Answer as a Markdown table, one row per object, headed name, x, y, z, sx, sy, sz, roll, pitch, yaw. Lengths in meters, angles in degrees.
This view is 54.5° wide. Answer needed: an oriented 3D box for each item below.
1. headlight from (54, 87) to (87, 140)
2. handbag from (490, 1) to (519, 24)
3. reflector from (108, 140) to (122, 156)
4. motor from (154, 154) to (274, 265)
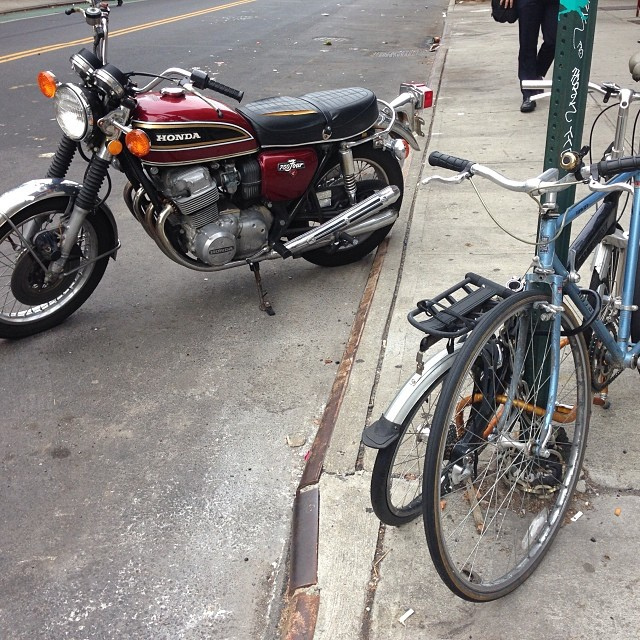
| name | x | y | z | sx | sy | sz | roll | pitch | yaw |
| --- | --- | --- | --- | --- | --- | --- | --- | --- | --- |
| headlight | -1.328 | -1.105 | 3.298 | 0.071 | 0.244 | 0.283 | -18 | 23 | -38 |
| handbag | 2.044 | -3.422 | 6.862 | 0.290 | 0.223 | 0.275 | 2 | 32 | 14 |
| reflector | -1.067 | -0.912 | 3.250 | 0.077 | 0.064 | 0.016 | 0 | 22 | -30 |
| motor | -0.662 | -0.705 | 3.838 | 0.744 | 0.652 | 0.607 | -13 | 35 | -31 |
